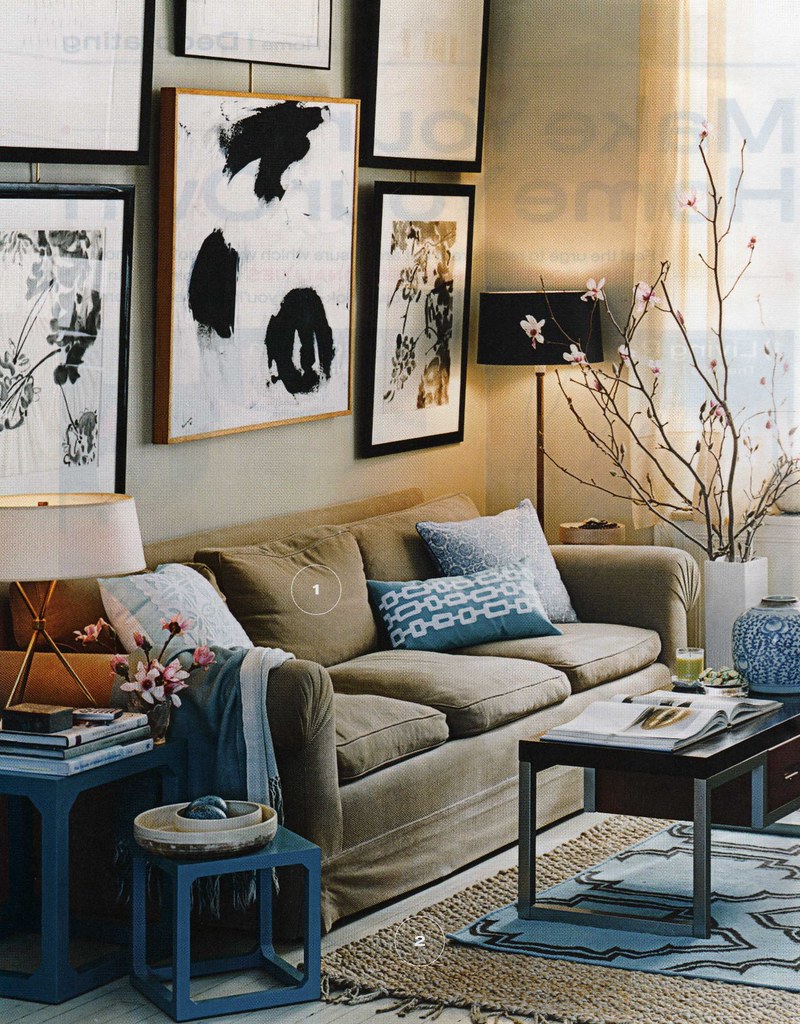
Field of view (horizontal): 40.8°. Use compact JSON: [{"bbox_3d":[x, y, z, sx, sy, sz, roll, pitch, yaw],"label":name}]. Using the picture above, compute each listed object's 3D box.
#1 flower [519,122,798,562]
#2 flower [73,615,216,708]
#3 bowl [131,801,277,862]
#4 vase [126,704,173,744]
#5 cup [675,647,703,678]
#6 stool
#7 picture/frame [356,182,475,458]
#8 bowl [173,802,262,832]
[{"bbox_3d":[1.067,-0.633,4.338,0.950,1.677,0.553,-3,-4,26],"label":"flower"},{"bbox_3d":[-0.500,0.315,2.162,0.213,0.146,0.210,-3,8,-42],"label":"flower"},{"bbox_3d":[-0.339,0.552,1.870,0.241,0.058,0.242,-1,-4,0],"label":"bowl"},{"bbox_3d":[-0.493,0.411,2.117,0.080,0.087,0.076,2,-3,-13],"label":"vase"},{"bbox_3d":[0.767,0.403,2.863,0.073,0.072,0.065,0,3,-10],"label":"cup"},{"bbox_3d":[-0.298,0.711,1.946,0.321,0.313,0.303,0,1,-35],"label":"stool"},{"bbox_3d":[0.090,-0.782,4.308,0.205,1.185,0.814,-3,-4,30],"label":"picture/frame"},{"bbox_3d":[-0.316,0.529,1.846,0.082,0.020,0.082,1,-2,0],"label":"bowl"}]
